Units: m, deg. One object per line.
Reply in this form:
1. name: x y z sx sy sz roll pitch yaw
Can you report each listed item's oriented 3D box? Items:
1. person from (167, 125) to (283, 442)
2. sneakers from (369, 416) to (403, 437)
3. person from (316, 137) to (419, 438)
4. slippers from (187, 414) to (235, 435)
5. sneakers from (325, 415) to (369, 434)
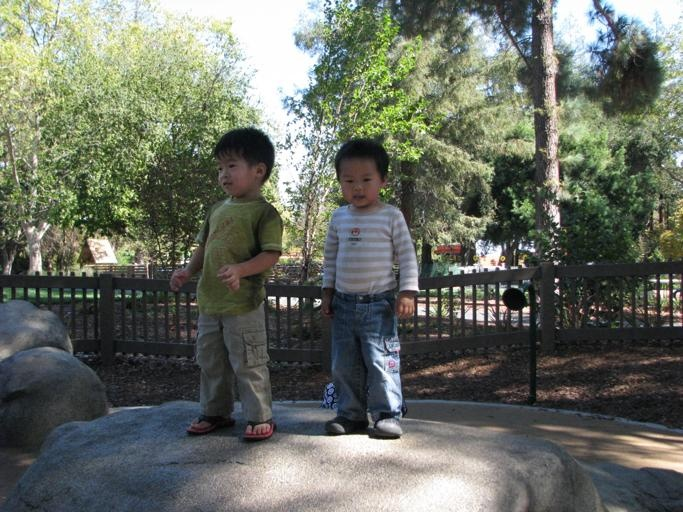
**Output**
1. person: -0.765 0.170 4.383 0.681 2.106 0.885 -2 11 -4
2. sneakers: 0.317 1.213 4.328 0.233 0.138 0.217 0 12 5
3. person: 0.208 0.271 4.507 0.719 2.211 0.907 -1 11 -1
4. slippers: -0.940 1.194 4.381 0.291 0.097 0.109 5 -4 -44
5. sneakers: 0.046 1.222 4.363 0.307 0.145 0.114 14 -20 -27
